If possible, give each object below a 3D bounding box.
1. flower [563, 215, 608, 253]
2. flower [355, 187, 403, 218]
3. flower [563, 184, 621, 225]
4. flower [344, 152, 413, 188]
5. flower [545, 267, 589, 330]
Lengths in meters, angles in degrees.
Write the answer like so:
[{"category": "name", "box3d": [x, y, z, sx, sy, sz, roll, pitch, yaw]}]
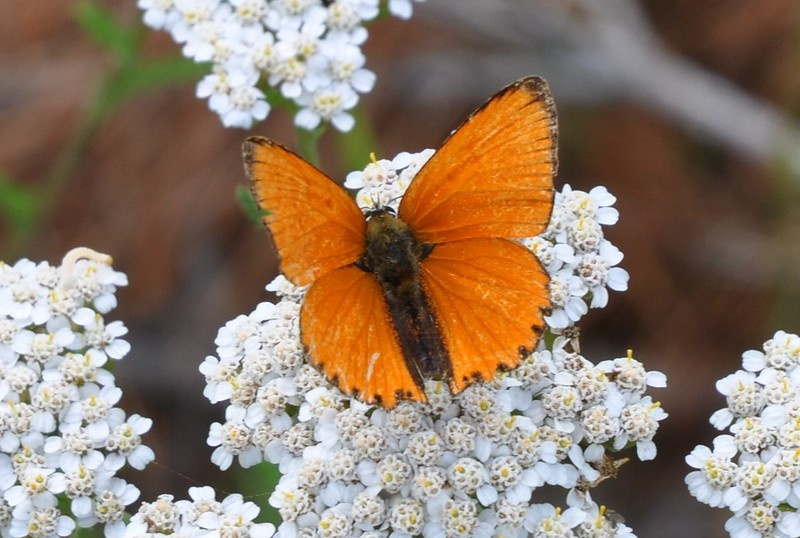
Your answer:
[{"category": "flower", "box3d": [1.005, -0.163, 5.714, 0.208, 0.218, 0.110, -34, 72, 27]}, {"category": "flower", "box3d": [-0.104, -0.328, 5.493, 0.177, 0.097, 0.145, -8, 68, 8]}, {"category": "flower", "box3d": [1.043, -0.354, 5.754, 0.229, 0.132, 0.241, -10, 62, -22]}, {"category": "flower", "box3d": [-0.126, -0.525, 5.734, 0.229, 0.154, 0.246, 9, 54, 22]}, {"category": "flower", "box3d": [0.852, 0.153, 5.565, 0.290, 0.103, 0.288, -38, 28, -28]}]
